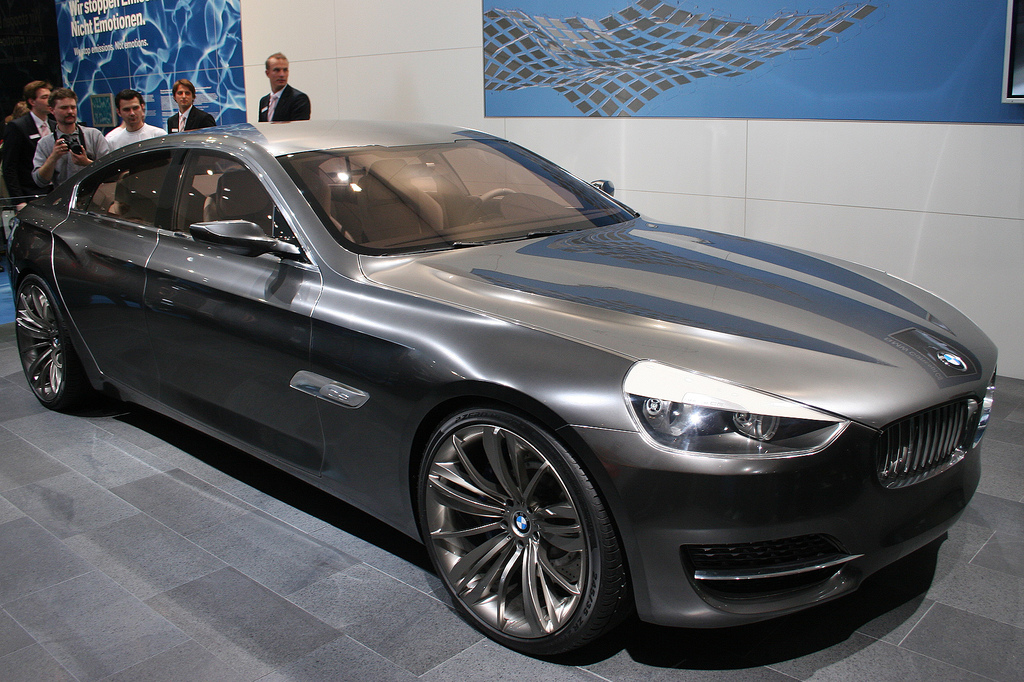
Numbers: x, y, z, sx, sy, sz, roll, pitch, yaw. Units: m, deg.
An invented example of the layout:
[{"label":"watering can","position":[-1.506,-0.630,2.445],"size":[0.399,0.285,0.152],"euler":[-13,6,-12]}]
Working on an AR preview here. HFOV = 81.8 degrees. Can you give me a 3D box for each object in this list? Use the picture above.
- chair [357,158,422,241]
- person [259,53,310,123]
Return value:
[{"label":"chair","position":[-0.624,-0.679,2.924],"size":[0.251,0.117,0.458],"euler":[-14,53,-27]},{"label":"person","position":[-3.239,-3.553,8.357],"size":[0.625,0.891,1.147],"euler":[-7,25,-21]}]
